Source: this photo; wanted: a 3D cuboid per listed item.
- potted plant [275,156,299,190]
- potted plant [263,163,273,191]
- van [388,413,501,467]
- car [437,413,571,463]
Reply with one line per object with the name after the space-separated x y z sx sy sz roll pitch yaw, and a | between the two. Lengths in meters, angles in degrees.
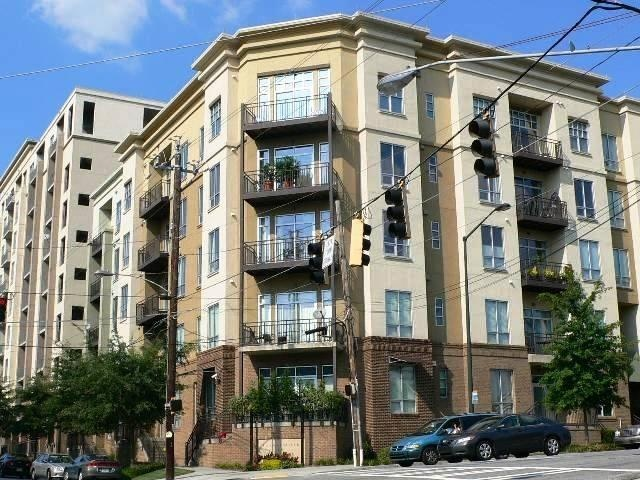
-1.845 -3.811 54.201 1.580 2.155 1.566 1 -23 -6 | potted plant
-3.051 -3.737 53.931 0.631 1.587 0.278 -4 -18 6 | potted plant
5.803 9.626 44.355 4.006 2.933 4.985 0 -13 4 | van
8.478 9.130 41.734 5.201 1.782 2.392 2 -18 -15 | car
